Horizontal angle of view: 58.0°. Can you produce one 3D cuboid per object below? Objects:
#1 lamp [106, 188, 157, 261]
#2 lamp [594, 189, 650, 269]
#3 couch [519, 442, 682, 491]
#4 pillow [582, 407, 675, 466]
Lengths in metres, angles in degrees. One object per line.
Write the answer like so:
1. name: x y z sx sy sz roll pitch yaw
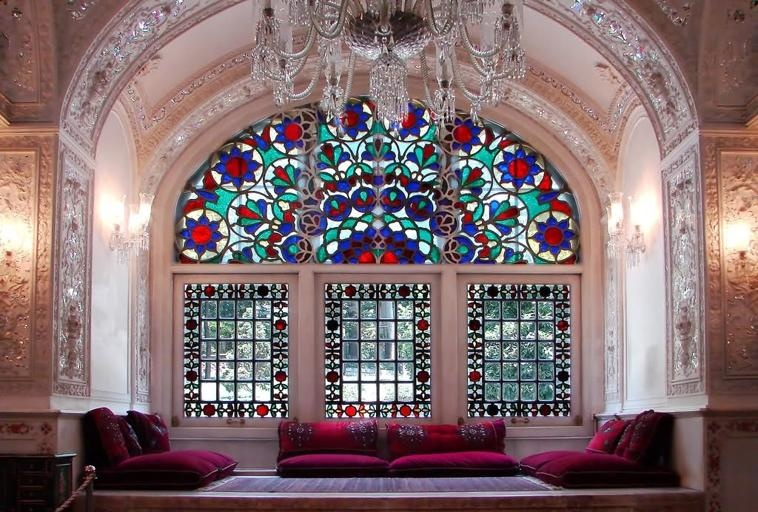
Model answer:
1. lamp: -2.713 -0.323 7.551 0.395 0.834 0.648 0 -9 -7
2. lamp: 2.601 -0.242 7.427 0.498 0.745 0.300 0 -5 -9
3. couch: 2.206 2.285 7.089 1.101 0.459 1.970 -1 -18 -2
4. pillow: 2.461 1.733 6.492 0.411 0.438 1.080 3 -11 -9
